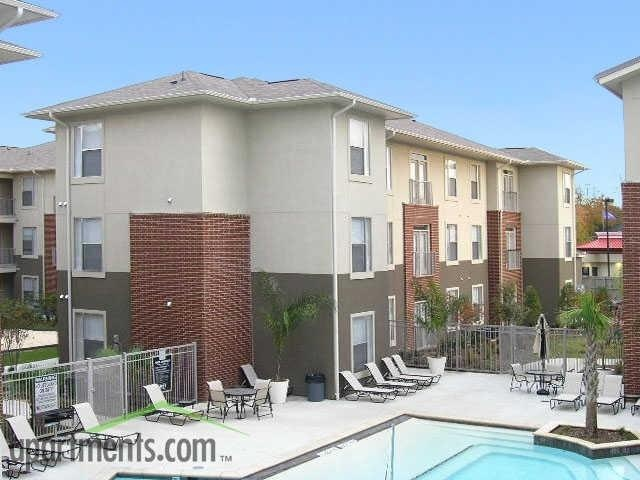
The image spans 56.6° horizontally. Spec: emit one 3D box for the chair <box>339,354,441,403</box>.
[{"bbox_3d":[2.360,5.088,21.707,2.067,1.118,3.432,1,0,38],"label":"chair"}]

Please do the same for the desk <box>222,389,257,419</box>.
[{"bbox_3d":[-2.510,4.994,18.513,0.983,0.647,0.949,-1,10,-20],"label":"desk"}]

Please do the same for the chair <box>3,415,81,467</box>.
[{"bbox_3d":[-6.648,4.778,14.221,1.879,0.992,0.958,-1,-3,25],"label":"chair"}]

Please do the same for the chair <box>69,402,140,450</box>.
[{"bbox_3d":[-5.656,4.776,15.530,1.817,0.956,0.951,0,-3,30],"label":"chair"}]

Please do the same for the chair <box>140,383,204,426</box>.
[{"bbox_3d":[-4.519,4.963,17.824,1.743,0.928,0.959,5,1,22],"label":"chair"}]

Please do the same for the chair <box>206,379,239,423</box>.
[{"bbox_3d":[-3.069,5.015,18.614,0.961,1.440,1.114,-1,-1,44],"label":"chair"}]
